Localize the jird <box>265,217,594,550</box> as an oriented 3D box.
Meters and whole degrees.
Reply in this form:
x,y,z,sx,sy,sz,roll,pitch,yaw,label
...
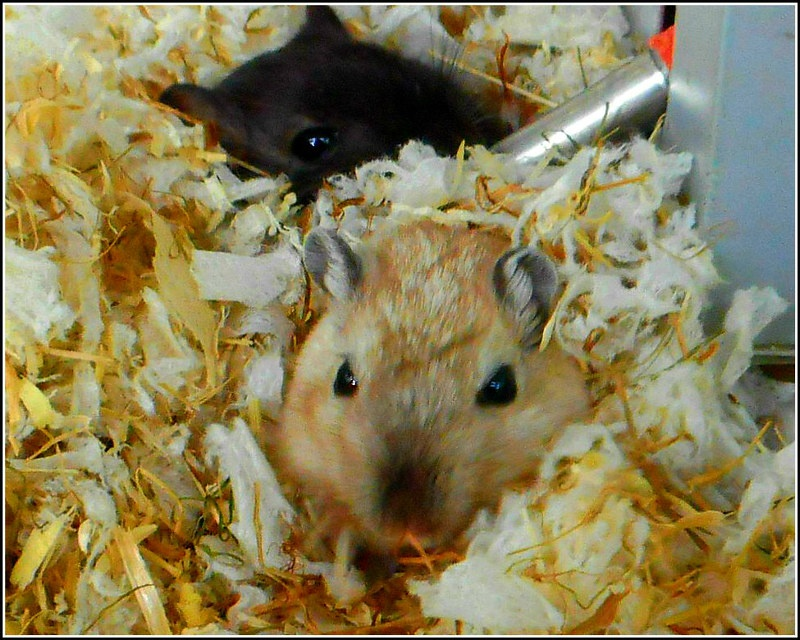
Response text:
x,y,z,sx,sy,sz,roll,pitch,yaw,label
0.046,0.121,2.997,0.554,0.316,0.754,17,86,9,jird

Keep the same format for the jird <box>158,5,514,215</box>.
x,y,z,sx,sy,sz,roll,pitch,yaw,label
-0.150,-0.498,3.280,0.712,0.165,0.466,-28,78,-6,jird
